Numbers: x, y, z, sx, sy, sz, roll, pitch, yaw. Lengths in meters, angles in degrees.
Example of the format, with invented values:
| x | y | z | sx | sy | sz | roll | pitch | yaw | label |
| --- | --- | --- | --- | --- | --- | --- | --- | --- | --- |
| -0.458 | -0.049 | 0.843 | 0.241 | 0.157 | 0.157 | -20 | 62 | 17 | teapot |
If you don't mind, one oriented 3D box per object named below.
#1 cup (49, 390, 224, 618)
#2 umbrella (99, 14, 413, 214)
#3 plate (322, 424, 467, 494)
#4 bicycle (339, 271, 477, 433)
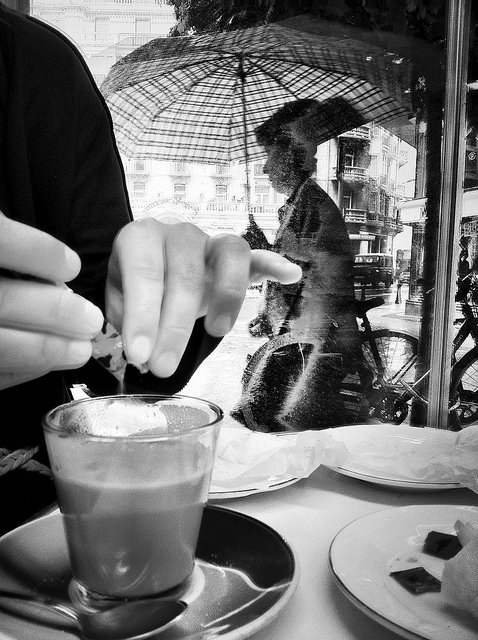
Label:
| x | y | z | sx | sy | sz | roll | pitch | yaw | label |
| --- | --- | --- | --- | --- | --- | --- | --- | --- | --- |
| -0.078 | 0.127 | 0.492 | 0.118 | 0.135 | 0.123 | 4 | 7 | -1 | cup |
| -0.015 | -0.821 | 3.299 | 1.170 | 0.783 | 1.295 | -3 | 7 | -9 | umbrella |
| 0.166 | 0.148 | 0.748 | 0.140 | 0.023 | 0.217 | 4 | 8 | 15 | plate |
| 0.674 | 0.130 | 2.745 | 0.285 | 0.678 | 0.696 | -1 | 8 | -19 | bicycle |
